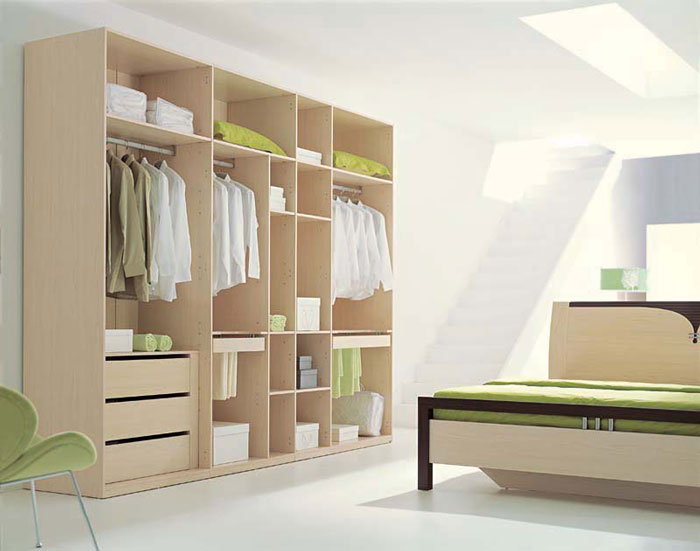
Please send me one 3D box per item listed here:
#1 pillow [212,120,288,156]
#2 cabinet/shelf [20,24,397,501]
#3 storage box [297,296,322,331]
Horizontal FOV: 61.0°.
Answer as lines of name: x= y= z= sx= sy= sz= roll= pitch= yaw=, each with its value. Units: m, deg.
pillow: x=-0.686 y=-0.908 z=3.893 sx=0.262 sy=0.066 sz=0.275 roll=15 pitch=-1 yaw=31
cabinet/shelf: x=-0.501 y=0.033 z=3.928 sx=2.180 sy=2.076 sz=0.520 roll=-3 pitch=-7 yaw=0
storage box: x=-0.300 y=0.281 z=4.355 sx=0.193 sy=0.267 sz=0.268 roll=-2 pitch=-5 yaw=21
